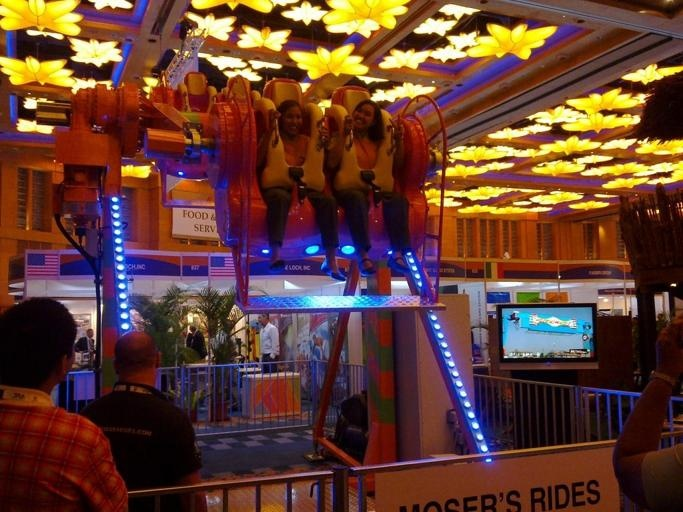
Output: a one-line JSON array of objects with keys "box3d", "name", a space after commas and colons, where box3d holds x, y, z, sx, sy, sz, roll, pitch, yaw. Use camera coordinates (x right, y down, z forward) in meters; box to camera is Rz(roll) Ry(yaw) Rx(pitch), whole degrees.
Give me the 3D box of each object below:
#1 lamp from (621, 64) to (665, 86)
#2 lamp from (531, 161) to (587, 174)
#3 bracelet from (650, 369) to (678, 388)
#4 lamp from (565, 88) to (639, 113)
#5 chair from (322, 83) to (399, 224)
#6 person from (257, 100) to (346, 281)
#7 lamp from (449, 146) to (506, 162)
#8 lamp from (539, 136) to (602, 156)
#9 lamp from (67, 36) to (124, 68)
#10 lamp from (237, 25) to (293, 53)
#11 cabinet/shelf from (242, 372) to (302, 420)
[{"box3d": [6.232, -3.812, 13.890, 0.725, 0.517, 0.807, -4, -10, 26], "name": "lamp"}, {"box3d": [6.902, -2.873, 21.499, 0.814, 0.172, 0.763, 0, -7, -7], "name": "lamp"}, {"box3d": [1.293, 0.489, 2.692, 0.092, 0.055, 0.094, 23, 1, 24], "name": "bracelet"}, {"box3d": [5.758, -3.508, 14.731, 1.306, 0.514, 0.698, -3, -9, 20], "name": "lamp"}, {"box3d": [0.140, -1.008, 6.299, 0.746, 1.227, 0.494, 6, -12, -22], "name": "chair"}, {"box3d": [-0.377, -0.645, 5.971, 0.742, 1.635, 0.559, 2, -9, -9], "name": "person"}, {"box3d": [3.925, -3.072, 19.266, 1.618, 0.506, 0.843, -1, -9, 7], "name": "lamp"}, {"box3d": [6.197, -3.107, 18.146, 1.569, 0.398, 0.855, -2, -9, 12], "name": "lamp"}, {"box3d": [-4.557, -3.917, 12.545, 0.850, 0.405, 0.903, 2, -9, -16], "name": "lamp"}, {"box3d": [-1.384, -3.999, 12.038, 0.821, 0.419, 0.878, 3, -9, -16], "name": "lamp"}, {"box3d": [-1.313, 2.781, 13.373, 1.309, 0.945, 1.028, 5, -10, -28], "name": "cabinet/shelf"}]
